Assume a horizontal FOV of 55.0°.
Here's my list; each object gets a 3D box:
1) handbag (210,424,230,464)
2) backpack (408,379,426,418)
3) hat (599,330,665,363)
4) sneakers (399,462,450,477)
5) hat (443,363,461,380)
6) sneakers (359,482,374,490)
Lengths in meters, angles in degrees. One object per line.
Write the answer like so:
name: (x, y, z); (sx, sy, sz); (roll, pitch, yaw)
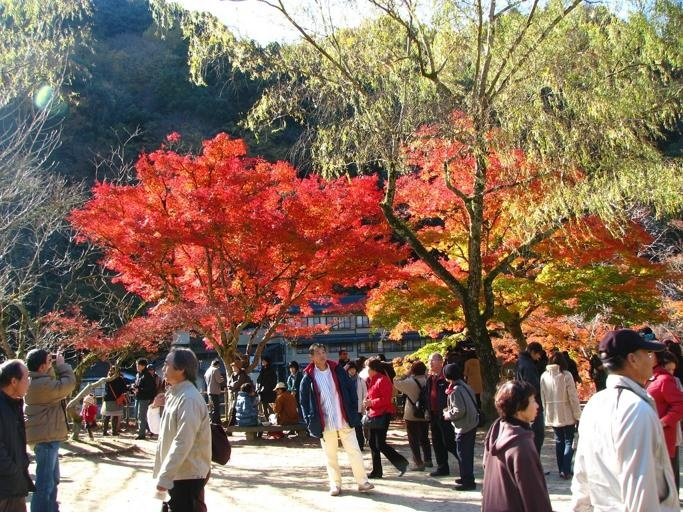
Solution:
handbag: (-1.132, 1.752, 6.171); (0.183, 0.378, 0.555); (1, -16, -11)
backpack: (1.043, 1.983, 9.100); (0.215, 0.401, 0.283); (6, -32, -11)
hat: (2.188, 0.685, 5.035); (0.375, 0.189, 0.247); (-9, -6, 1)
sneakers: (1.126, 2.897, 8.966); (0.420, 0.189, 0.136); (-22, -27, 29)
hat: (1.420, 1.436, 8.271); (0.222, 0.181, 0.174); (0, -5, -38)
sneakers: (0.295, 2.750, 7.852); (0.199, 0.088, 0.075); (-22, -19, 28)
